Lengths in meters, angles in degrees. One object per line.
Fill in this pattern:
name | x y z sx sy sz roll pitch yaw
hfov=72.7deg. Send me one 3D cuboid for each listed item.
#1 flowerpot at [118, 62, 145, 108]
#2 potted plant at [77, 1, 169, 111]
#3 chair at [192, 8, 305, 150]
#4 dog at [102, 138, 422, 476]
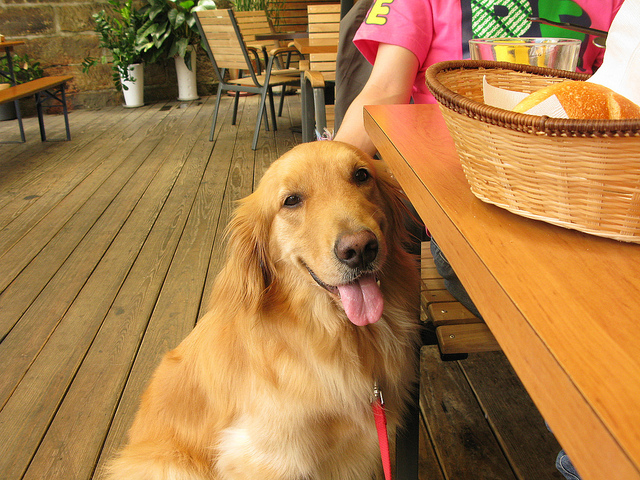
flowerpot | -3.460 -2.845 7.985 0.413 0.670 0.431 9 39 4
potted plant | -3.513 -3.375 8.008 1.661 1.779 1.125 -6 26 -8
chair | -1.166 -2.449 6.370 1.129 1.595 2.759 -8 27 -12
dog | -0.133 0.274 1.889 1.053 1.135 1.124 -6 6 14
